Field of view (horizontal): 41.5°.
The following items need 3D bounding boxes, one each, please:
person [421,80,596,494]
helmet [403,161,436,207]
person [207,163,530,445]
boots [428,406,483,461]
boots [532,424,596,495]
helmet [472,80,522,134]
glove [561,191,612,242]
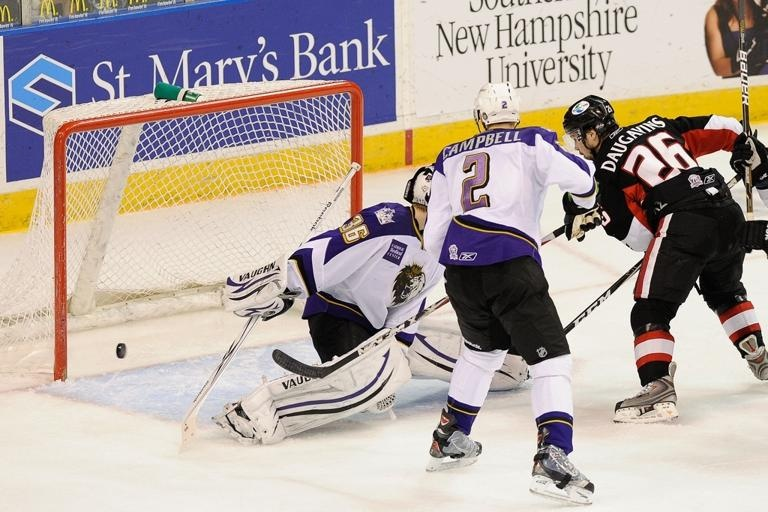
[{"bbox_3d":[0.629,0.108,4.200,0.601,1.661,0.768,-8,8,-28],"label":"person"},{"bbox_3d":[0.156,-0.322,4.699,0.183,0.162,0.141,0,14,-41],"label":"helmet"},{"bbox_3d":[-0.237,0.406,5.216,1.545,1.466,1.001,15,-12,17],"label":"person"},{"bbox_3d":[0.327,0.776,4.307,0.296,0.184,0.098,15,-1,-40],"label":"boots"},{"bbox_3d":[0.674,0.804,3.847,0.340,0.250,0.128,19,-27,-28],"label":"boots"},{"bbox_3d":[0.495,-0.642,4.419,0.236,0.247,0.255,-6,19,-4],"label":"helmet"},{"bbox_3d":[0.885,-0.165,4.488,0.217,0.205,0.089,-24,23,2],"label":"glove"}]
